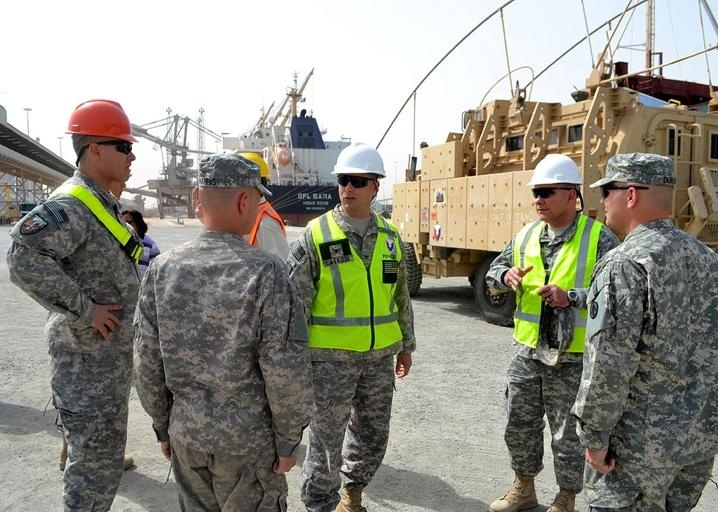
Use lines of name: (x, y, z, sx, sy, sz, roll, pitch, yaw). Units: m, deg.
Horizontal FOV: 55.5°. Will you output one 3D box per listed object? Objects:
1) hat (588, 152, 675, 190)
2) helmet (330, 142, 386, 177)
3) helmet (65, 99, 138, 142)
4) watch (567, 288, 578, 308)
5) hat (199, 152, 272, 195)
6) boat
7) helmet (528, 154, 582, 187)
hat: (1.458, -0.439, 3.562, 0.290, 0.131, 0.220, -1, 4, 17)
helmet: (0.009, -0.623, 4.367, 0.369, 0.211, 0.303, 1, 5, 27)
helmet: (-1.560, -0.827, 4.152, 0.446, 0.257, 0.363, 1, 8, -5)
watch: (1.326, 0.255, 4.269, 0.067, 0.109, 0.100, -1, -15, 12)
hat: (-0.623, -0.416, 3.436, 0.262, 0.198, 0.376, 11, 12, 43)
boat: (-5.180, -7.191, 41.888, 4.411, 8.775, 15.012, 1, 8, -23)
helmet: (1.311, -0.581, 4.599, 0.382, 0.222, 0.297, 2, 4, -38)
